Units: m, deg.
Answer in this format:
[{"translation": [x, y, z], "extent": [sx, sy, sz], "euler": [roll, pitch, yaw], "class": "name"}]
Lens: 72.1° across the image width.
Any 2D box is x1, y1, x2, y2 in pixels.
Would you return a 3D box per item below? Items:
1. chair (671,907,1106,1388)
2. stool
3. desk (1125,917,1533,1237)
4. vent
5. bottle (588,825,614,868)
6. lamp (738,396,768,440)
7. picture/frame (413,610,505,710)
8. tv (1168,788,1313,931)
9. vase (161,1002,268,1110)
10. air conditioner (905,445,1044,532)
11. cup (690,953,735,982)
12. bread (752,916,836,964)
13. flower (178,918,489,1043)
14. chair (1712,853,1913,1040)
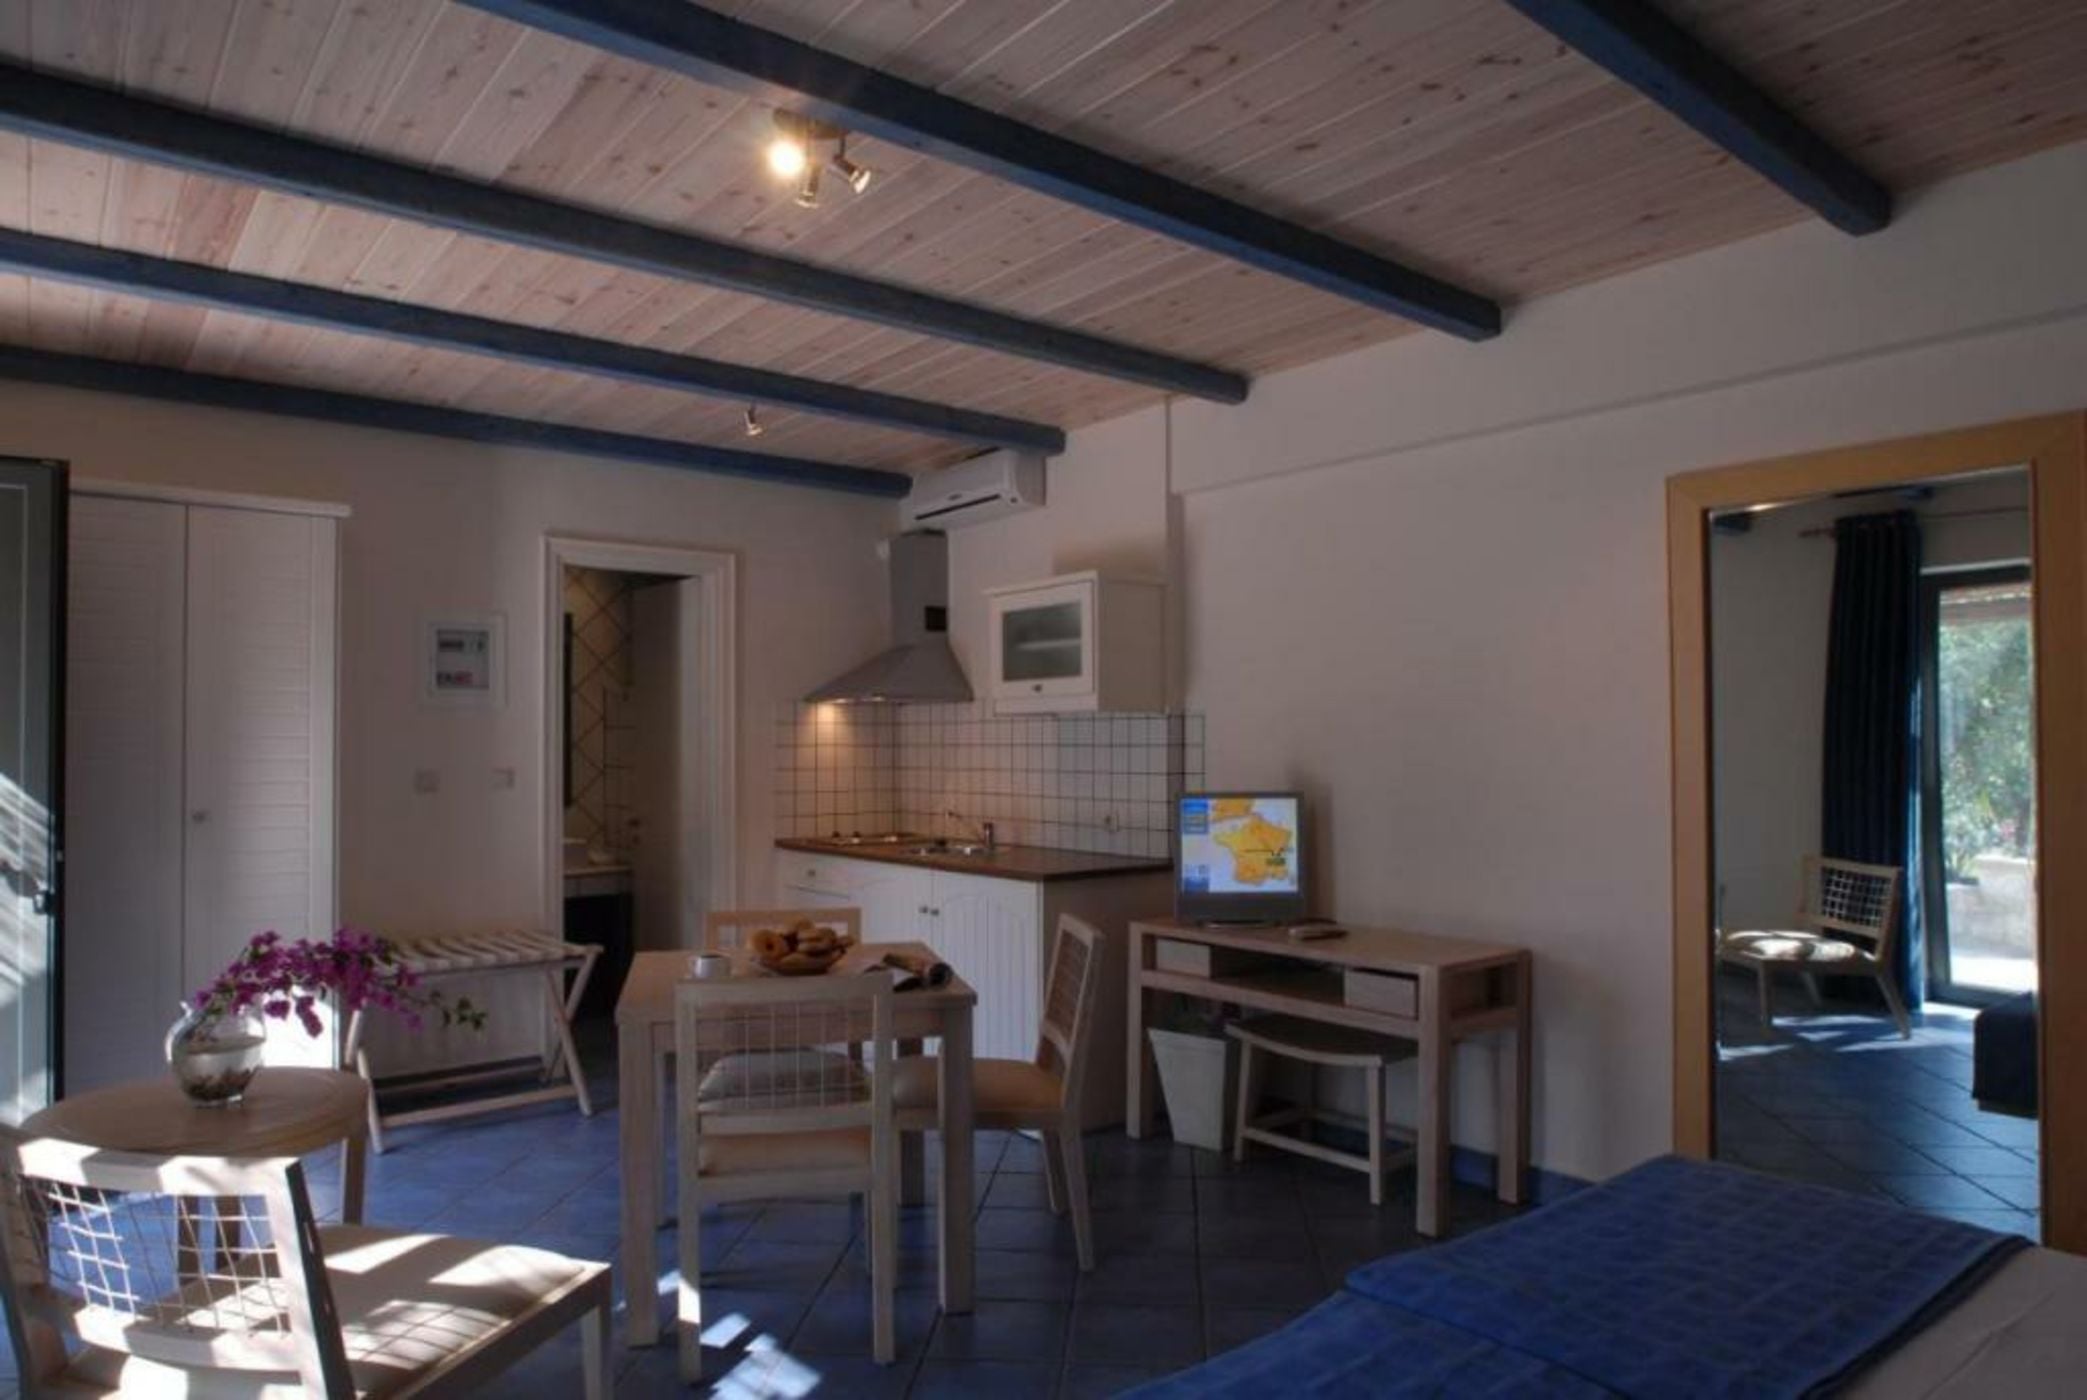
[{"translation": [-0.498, 1.276, 4.432], "extent": [1.380, 1.121, 0.843], "euler": [-4, 8, -24], "class": "chair"}, {"translation": [1.038, 1.503, 5.253], "extent": [0.552, 0.530, 0.659], "euler": [3, -3, -40], "class": "stool"}, {"translation": [1.009, 1.270, 5.333], "extent": [1.495, 0.948, 0.635], "euler": [7, 11, 45], "class": "desk"}, {"translation": [-0.550, -0.423, 7.436], "extent": [0.999, 0.883, 0.981], "euler": [5, 1, -39], "class": "vent"}, {"translation": [-2.387, 0.792, 7.722], "extent": [0.133, 0.154, 0.294], "euler": [-3, 8, -17], "class": "bottle"}, {"translation": [-1.287, -1.231, 6.319], "extent": [0.127, 0.224, 0.127], "euler": [6, 10, -13], "class": "lamp"}, {"translation": [-2.553, -0.181, 6.286], "extent": [0.344, 0.371, 0.020], "euler": [0, -1, -1], "class": "picture/frame"}, {"translation": [0.767, 0.626, 5.508], "extent": [0.525, 0.479, 0.115], "euler": [-1, -6, 11], "class": "tv"}, {"translation": [-2.205, 0.955, 3.871], "extent": [0.274, 0.249, 0.263], "euler": [9, -10, -29], "class": "vase"}, {"translation": [-0.348, -1.030, 7.039], "extent": [0.206, 0.376, 0.935], "euler": [-7, 10, -37], "class": "air conditioner"}, {"translation": [-1.041, 0.829, 4.438], "extent": [0.077, 0.077, 0.118], "euler": [1, -5, -11], "class": "cup"}, {"translation": [-0.788, 0.749, 4.427], "extent": [0.174, 0.066, 0.165], "euler": [-1, -3, 37], "class": "bread"}, {"translation": [-1.980, 0.744, 3.924], "extent": [0.354, 0.113, 0.444], "euler": [10, 8, 13], "class": "flower"}, {"translation": [2.417, 0.732, 4.570], "extent": [0.498, 0.577, 0.605], "euler": [2, -4, -10], "class": "chair"}]
